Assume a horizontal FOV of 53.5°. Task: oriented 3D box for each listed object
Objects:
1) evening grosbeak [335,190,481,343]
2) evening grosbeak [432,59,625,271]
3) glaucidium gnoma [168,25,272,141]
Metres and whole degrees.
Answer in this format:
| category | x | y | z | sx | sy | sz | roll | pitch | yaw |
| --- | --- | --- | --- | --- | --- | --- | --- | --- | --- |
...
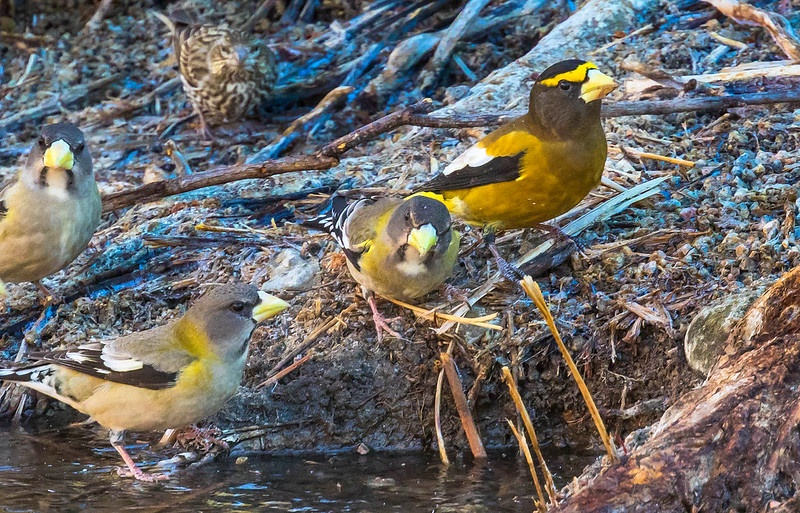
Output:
| category | x | y | z | sx | sy | sz | roll | pitch | yaw |
| --- | --- | --- | --- | --- | --- | --- | --- | --- | --- |
| evening grosbeak | -0.057 | -0.104 | 6.379 | 0.625 | 0.825 | 1.132 | -27 | 31 | -37 |
| evening grosbeak | 1.127 | -0.708 | 6.686 | 1.911 | 1.320 | 2.284 | -18 | 20 | -23 |
| glaucidium gnoma | -1.958 | -2.026 | 9.189 | 1.100 | 1.143 | 0.719 | -4 | 25 | 6 |
